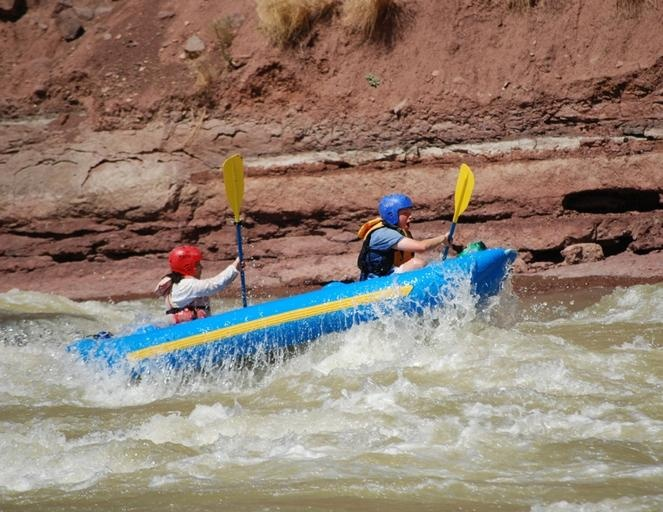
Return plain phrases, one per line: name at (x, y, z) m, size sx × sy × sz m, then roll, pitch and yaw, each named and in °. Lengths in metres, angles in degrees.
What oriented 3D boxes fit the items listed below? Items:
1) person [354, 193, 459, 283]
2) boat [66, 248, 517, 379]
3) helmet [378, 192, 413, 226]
person at (1.081, -0.032, 12.440) m, size 1.463 × 1.540 × 0.925 m, roll -8°, pitch 2°, yaw 10°
boat at (-0.304, 0.751, 12.180) m, size 6.177 × 0.850 × 1.719 m, roll -16°, pitch -6°, yaw -1°
helmet at (0.788, -0.606, 12.462) m, size 0.503 × 0.341 × 0.345 m, roll -8°, pitch 0°, yaw 12°
